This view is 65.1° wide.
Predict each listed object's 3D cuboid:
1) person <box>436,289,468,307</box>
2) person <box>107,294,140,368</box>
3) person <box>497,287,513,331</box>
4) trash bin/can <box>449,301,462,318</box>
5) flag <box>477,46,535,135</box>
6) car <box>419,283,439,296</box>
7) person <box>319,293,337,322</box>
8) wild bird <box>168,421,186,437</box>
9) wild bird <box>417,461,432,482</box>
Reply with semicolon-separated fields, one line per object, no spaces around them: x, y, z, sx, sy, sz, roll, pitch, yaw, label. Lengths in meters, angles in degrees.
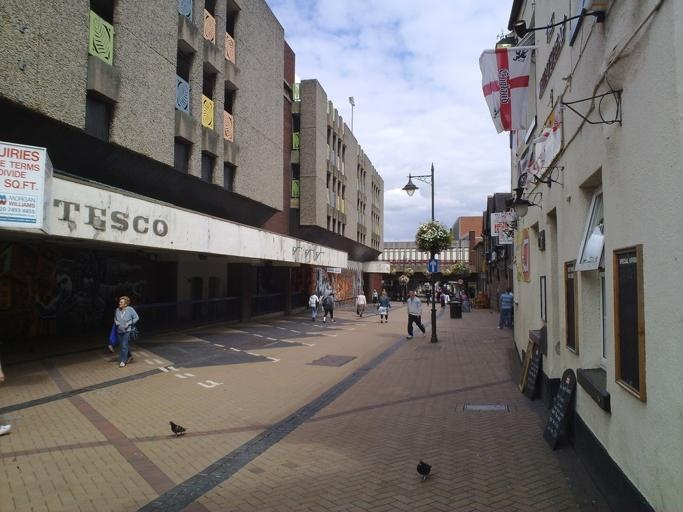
9.590;3.610;46.497;1.830;1.145;1.445;1;2;22;person
-6.198;1.989;15.148;0.759;1.784;2.643;0;1;-24;person
7.670;2.506;24.732;0.573;1.634;1.555;1;1;18;person
6.714;3.100;31.065;0.708;0.994;0.802;-1;-2;1;trash bin/can
3.597;-3.544;11.335;1.186;1.880;0.244;-4;-11;13;flag
10.229;3.800;62.534;1.328;1.798;2.350;0;-3;9;car
-0.888;3.077;31.876;0.856;2.416;1.160;6;12;26;person
-2.888;3.000;9.328;0.265;0.226;0.241;2;1;-5;wild bird
1.177;3.093;7.704;0.174;0.270;0.257;-6;-11;20;wild bird
